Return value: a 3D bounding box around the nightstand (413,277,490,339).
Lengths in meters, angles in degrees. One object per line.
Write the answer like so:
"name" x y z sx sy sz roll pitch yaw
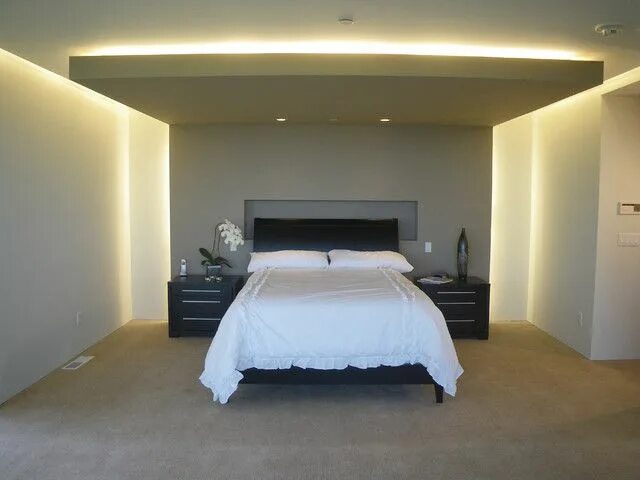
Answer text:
"nightstand" 1.656 0.809 6.440 1.141 1.025 0.631 -1 1 1

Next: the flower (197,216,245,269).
"flower" -1.295 0.118 6.490 0.560 0.751 0.555 4 -8 -19

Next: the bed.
"bed" 0.101 0.616 5.547 2.451 1.372 2.532 0 12 -1

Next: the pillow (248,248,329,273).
"pillow" -0.412 0.247 6.238 0.734 0.153 0.324 0 43 -2

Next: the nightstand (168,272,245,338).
"nightstand" -1.412 0.785 6.504 1.161 1.038 0.675 0 2 2
